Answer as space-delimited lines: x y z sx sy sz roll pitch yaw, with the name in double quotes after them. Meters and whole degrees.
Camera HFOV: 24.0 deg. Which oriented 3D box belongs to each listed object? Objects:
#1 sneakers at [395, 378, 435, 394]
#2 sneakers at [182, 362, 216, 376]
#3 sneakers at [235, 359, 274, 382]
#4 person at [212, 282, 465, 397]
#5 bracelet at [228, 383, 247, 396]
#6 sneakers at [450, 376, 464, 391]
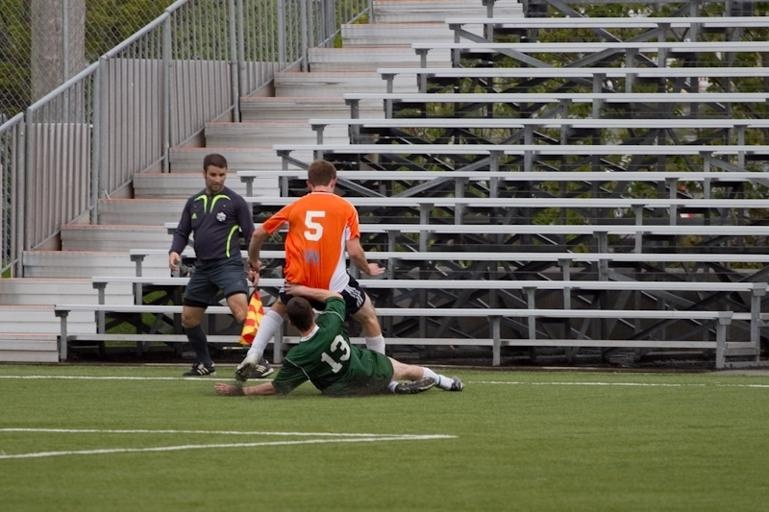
0.340 1.432 19.731 0.472 0.132 0.188 1 0 -4 "sneakers"
-2.174 1.354 21.191 0.442 0.137 0.132 0 -1 2 "sneakers"
-1.442 1.310 20.269 0.194 0.214 0.559 -6 -14 39 "sneakers"
-0.454 1.018 19.697 2.949 1.112 0.739 1 -10 -36 "person"
-1.566 1.462 19.676 0.274 0.120 0.064 1 18 -9 "bracelet"
0.822 1.434 20.015 0.139 0.144 0.372 0 -8 7 "sneakers"
